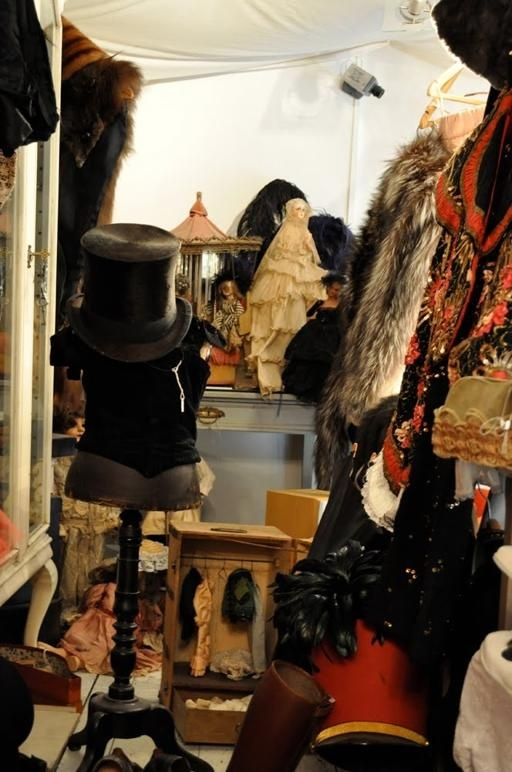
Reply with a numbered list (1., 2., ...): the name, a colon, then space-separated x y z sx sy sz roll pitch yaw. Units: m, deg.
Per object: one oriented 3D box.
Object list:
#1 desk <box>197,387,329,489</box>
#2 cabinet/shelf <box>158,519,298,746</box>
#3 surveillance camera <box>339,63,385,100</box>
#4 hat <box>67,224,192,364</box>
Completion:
1. desk: 0.013 0.300 3.842 0.692 0.644 0.265 1 -5 1
2. cabinet/shelf: -0.110 0.758 2.028 0.456 0.600 0.701 3 -12 1
3. surveillance camera: 0.730 -2.153 4.533 0.257 0.146 0.140 34 5 32
4. hat: -0.296 -0.226 1.555 0.292 0.327 0.254 3 7 -11
